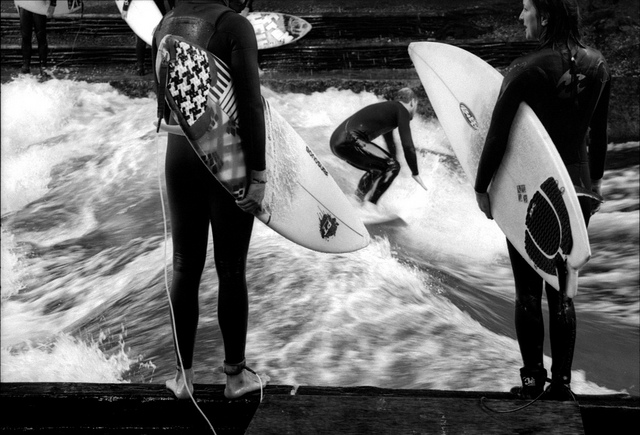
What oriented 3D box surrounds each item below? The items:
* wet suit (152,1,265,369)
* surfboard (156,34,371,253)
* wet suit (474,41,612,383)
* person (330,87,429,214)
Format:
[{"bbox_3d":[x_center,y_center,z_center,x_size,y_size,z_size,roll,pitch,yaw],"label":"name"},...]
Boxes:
[{"bbox_3d":[-0.605,-0.178,4.532,0.620,2.070,0.579,-5,19,-5],"label":"wet suit"},{"bbox_3d":[-0.200,-0.372,4.852,0.641,2.237,0.450,-21,45,19],"label":"surfboard"},{"bbox_3d":[1.422,-0.061,4.600,0.787,1.894,0.664,-13,21,-26],"label":"wet suit"},{"bbox_3d":[0.609,-0.643,7.947,1.092,1.351,0.645,-7,47,-11],"label":"person"}]
